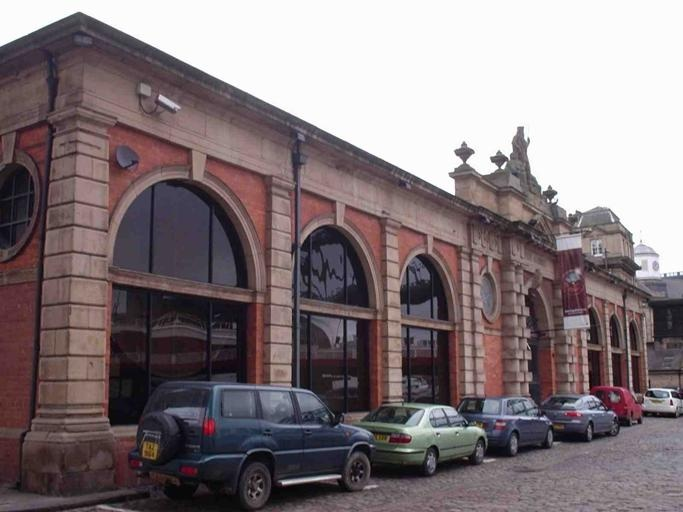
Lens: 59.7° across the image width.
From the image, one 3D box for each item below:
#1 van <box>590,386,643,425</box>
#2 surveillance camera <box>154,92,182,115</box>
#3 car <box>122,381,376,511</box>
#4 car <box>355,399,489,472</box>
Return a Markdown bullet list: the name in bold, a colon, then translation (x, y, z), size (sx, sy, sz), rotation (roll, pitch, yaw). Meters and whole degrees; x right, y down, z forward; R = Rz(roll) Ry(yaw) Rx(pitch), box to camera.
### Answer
- **van**: translation (14.560, 7.683, 31.195), size (1.958, 1.850, 3.525), rotation (-5, -6, 32)
- **surveillance camera**: translation (-4.390, -3.794, 14.934), size (0.609, 0.377, 0.439), rotation (9, -21, -34)
- **car**: translation (-1.655, 3.623, 12.600), size (2.272, 2.131, 4.778), rotation (-7, -10, 38)
- **car**: translation (2.272, 4.754, 16.034), size (1.604, 1.243, 3.315), rotation (-7, -10, 38)
